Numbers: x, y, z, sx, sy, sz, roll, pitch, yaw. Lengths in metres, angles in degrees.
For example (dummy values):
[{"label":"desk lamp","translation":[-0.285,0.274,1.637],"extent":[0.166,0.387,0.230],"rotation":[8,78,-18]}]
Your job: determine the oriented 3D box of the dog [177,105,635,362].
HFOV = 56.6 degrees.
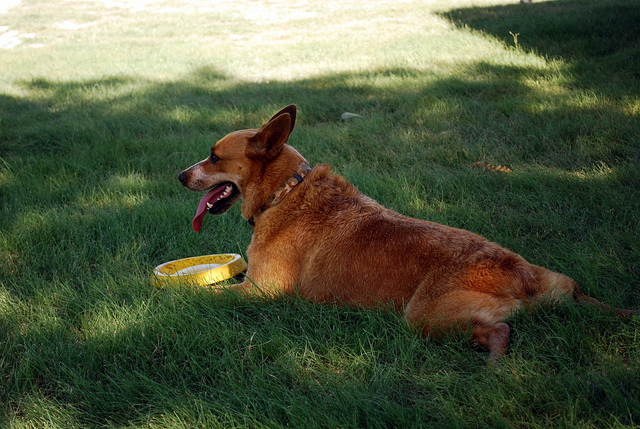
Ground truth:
[{"label":"dog","translation":[0.438,0.155,6.660],"extent":[4.137,2.304,1.242],"rotation":[5,31,23]}]
